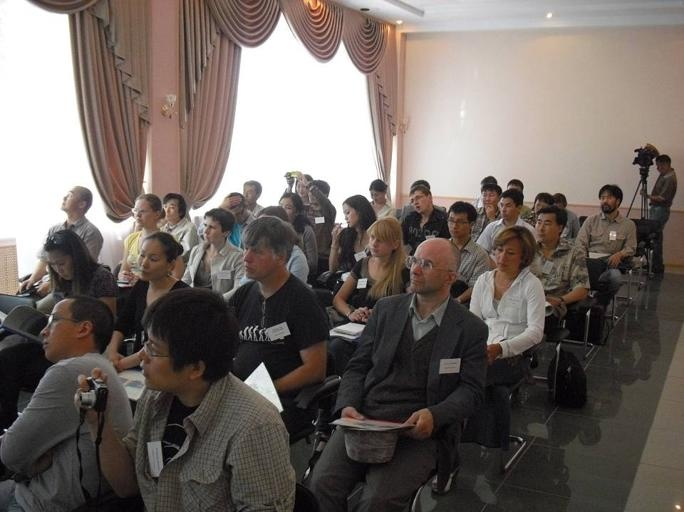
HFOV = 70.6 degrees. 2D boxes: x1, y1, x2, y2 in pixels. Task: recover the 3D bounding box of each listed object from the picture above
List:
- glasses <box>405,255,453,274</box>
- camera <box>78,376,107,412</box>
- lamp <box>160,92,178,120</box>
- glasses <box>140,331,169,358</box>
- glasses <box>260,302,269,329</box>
[{"bbox_3d":[0.455,0.035,2.493,0.229,0.073,0.146,5,12,22],"label":"glasses"},{"bbox_3d":[-0.840,0.461,1.645,0.083,0.104,0.122,9,5,-25],"label":"camera"},{"bbox_3d":[-2.271,-1.987,6.384,0.109,0.321,0.273,4,11,20],"label":"lamp"},{"bbox_3d":[-0.581,0.281,1.502,0.074,0.024,0.073,10,1,-33],"label":"glasses"},{"bbox_3d":[-0.420,0.320,2.596,0.031,0.142,0.073,-7,13,-37],"label":"glasses"}]
